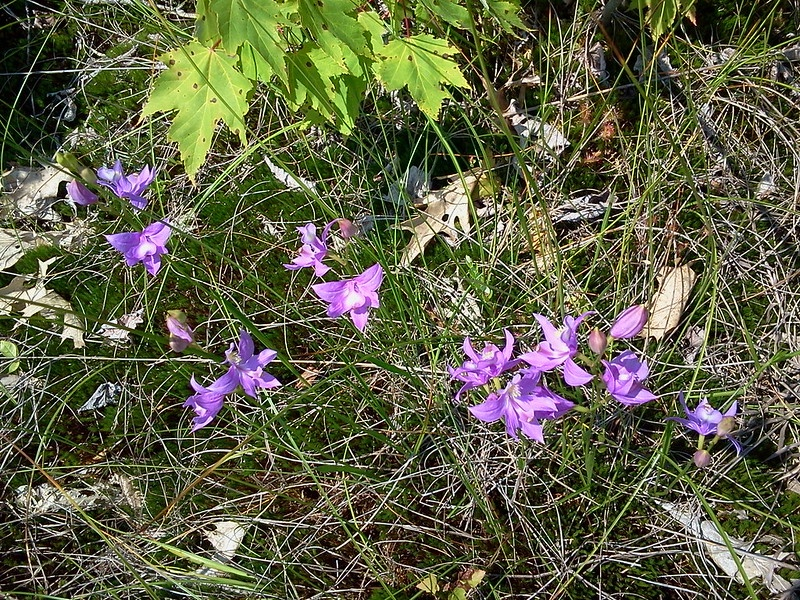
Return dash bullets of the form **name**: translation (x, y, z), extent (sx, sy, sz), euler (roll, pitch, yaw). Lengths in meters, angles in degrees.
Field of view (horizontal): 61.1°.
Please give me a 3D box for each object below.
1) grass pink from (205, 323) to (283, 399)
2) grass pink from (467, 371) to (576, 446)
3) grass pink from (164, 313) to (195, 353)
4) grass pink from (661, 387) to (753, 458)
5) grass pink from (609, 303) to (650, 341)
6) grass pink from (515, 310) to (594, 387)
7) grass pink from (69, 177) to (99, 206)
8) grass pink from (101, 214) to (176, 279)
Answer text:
- **grass pink**: translation (-0.538, 0.230, 2.302), extent (0.238, 0.222, 0.090), euler (-47, 37, -12)
- **grass pink**: translation (0.367, 0.284, 2.181), extent (0.214, 0.096, 0.239), euler (-44, 46, -10)
- **grass pink**: translation (-0.752, 0.111, 2.274), extent (0.080, 0.134, 0.031), euler (-29, 29, -37)
- **grass pink**: translation (1.100, 0.427, 2.386), extent (0.275, 0.172, 0.261), euler (-6, 15, -37)
- **grass pink**: translation (0.705, 0.094, 2.111), extent (0.151, 0.061, 0.070), euler (-44, 85, 11)
- **grass pink**: translation (0.502, 0.173, 2.140), extent (0.225, 0.350, 0.169), euler (20, 66, 15)
- **grass pink**: translation (-1.204, -0.413, 2.568), extent (0.072, 0.071, 0.150), euler (-9, 8, -14)
- **grass pink**: translation (-0.928, -0.187, 2.388), extent (0.057, 0.162, 0.165), euler (12, 40, 31)
